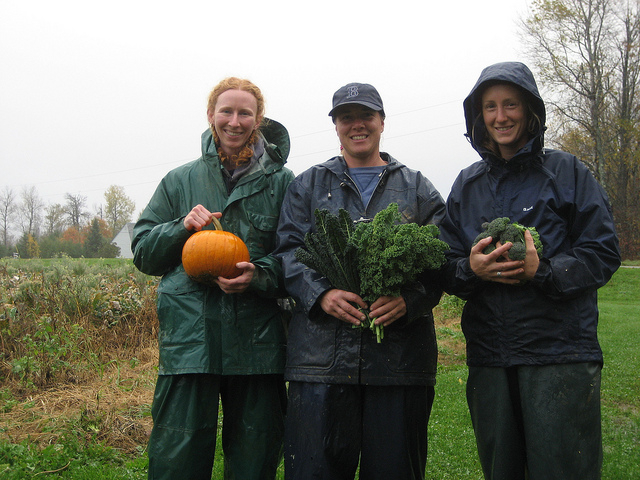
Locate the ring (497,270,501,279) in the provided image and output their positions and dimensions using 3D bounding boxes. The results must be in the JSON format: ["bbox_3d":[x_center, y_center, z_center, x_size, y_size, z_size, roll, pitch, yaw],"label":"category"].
[{"bbox_3d":[1.352,0.262,3.957,0.013,0.044,0.041,10,7,1],"label":"ring"}]

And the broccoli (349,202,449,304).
[{"bbox_3d":[0.590,-0.016,4.085,0.696,0.726,0.726,-10,9,-21],"label":"broccoli"}]

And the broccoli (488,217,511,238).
[{"bbox_3d":[1.360,-0.098,3.973,0.118,0.088,0.164,15,36,-1],"label":"broccoli"}]

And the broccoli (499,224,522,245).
[{"bbox_3d":[1.428,-0.038,3.915,0.105,0.092,0.148,6,10,-1],"label":"broccoli"}]

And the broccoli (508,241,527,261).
[{"bbox_3d":[1.456,0.085,3.848,0.093,0.086,0.122,3,-15,7],"label":"broccoli"}]

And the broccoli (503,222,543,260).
[{"bbox_3d":[1.513,-0.004,3.988,0.233,0.314,0.177,-9,-46,-12],"label":"broccoli"}]

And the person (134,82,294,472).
[{"bbox_3d":[-0.874,0.318,4.465,1.272,3.418,0.995,2,5,-9],"label":"person"}]

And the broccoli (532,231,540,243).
[{"bbox_3d":[1.642,-0.023,3.987,0.050,0.064,0.031,-5,-47,-7],"label":"broccoli"}]

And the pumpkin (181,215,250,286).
[{"bbox_3d":[-0.933,0.070,4.492,0.623,0.545,0.408,4,3,-38],"label":"pumpkin"}]
